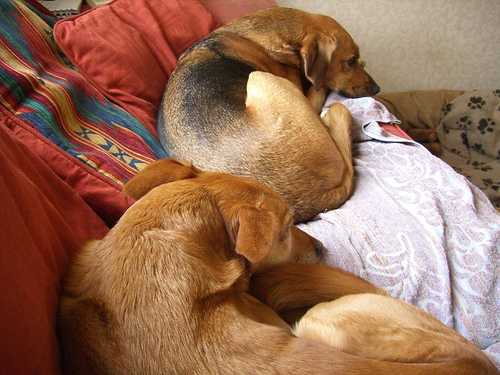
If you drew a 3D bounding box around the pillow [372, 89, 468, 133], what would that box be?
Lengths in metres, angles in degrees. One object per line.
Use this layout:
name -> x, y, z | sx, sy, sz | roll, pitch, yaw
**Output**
pillow -> 1.419, -0.687, 3.911 | 0.536, 0.174, 0.576 | -10, 34, -9
